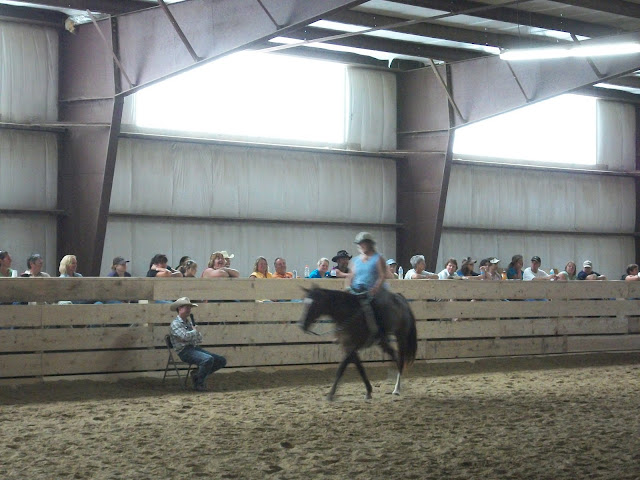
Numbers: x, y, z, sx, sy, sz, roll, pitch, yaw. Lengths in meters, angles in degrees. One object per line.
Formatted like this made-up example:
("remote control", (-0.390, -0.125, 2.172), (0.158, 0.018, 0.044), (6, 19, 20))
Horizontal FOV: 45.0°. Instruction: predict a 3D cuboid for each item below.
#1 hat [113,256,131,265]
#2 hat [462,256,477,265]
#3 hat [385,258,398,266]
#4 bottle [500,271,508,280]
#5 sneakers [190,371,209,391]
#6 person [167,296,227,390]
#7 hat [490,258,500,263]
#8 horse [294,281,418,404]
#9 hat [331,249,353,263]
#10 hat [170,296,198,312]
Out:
("hat", (-3.511, 0.364, 13.665), (0.223, 0.116, 0.143), (-12, -7, 16))
("hat", (3.033, 0.426, 15.846), (0.324, 0.142, 0.236), (-5, -6, 32))
("hat", (1.263, 0.373, 13.972), (0.181, 0.096, 0.284), (2, -8, -10))
("bottle", (3.618, 0.710, 15.308), (0.176, 0.245, 0.179), (1, -8, 0))
("sneakers", (-1.801, 2.066, 11.538), (0.234, 0.253, 0.403), (-3, 8, -11))
("person", (-1.914, 1.526, 11.607), (0.843, 1.299, 0.601), (5, 10, 39))
("hat", (3.446, 0.418, 15.371), (0.134, 0.062, 0.205), (-18, 3, -11))
("horse", (0.606, 1.481, 11.085), (2.086, 1.617, 0.510), (1, -3, -33))
("hat", (0.372, 0.263, 14.266), (0.248, 0.113, 0.287), (2, -19, -24))
("hat", (-2.076, 0.966, 11.573), (0.266, 0.101, 0.254), (-10, -11, 27))
